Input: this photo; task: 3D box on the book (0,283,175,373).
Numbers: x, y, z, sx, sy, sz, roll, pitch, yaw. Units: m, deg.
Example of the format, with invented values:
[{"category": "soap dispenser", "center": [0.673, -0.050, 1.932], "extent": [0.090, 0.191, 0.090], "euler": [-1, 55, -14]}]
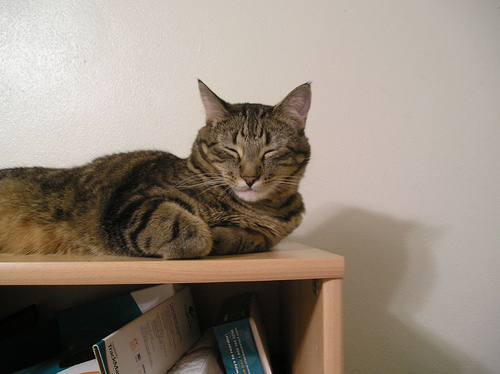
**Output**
[{"category": "book", "center": [-0.507, 0.395, 1.257], "extent": [0.340, 0.077, 0.311], "euler": [-24, -4, 26]}]

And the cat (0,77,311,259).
[{"category": "cat", "center": [-0.323, 0.052, 1.299], "extent": [0.905, 0.386, 0.469], "euler": [-7, -10, 28]}]
